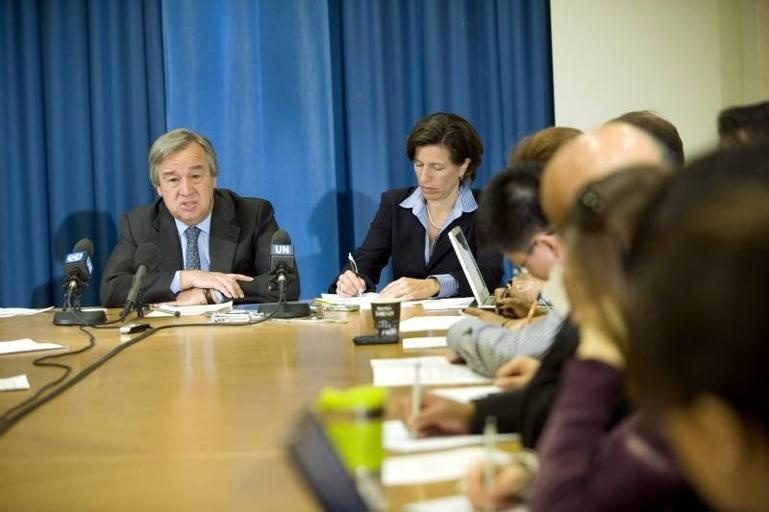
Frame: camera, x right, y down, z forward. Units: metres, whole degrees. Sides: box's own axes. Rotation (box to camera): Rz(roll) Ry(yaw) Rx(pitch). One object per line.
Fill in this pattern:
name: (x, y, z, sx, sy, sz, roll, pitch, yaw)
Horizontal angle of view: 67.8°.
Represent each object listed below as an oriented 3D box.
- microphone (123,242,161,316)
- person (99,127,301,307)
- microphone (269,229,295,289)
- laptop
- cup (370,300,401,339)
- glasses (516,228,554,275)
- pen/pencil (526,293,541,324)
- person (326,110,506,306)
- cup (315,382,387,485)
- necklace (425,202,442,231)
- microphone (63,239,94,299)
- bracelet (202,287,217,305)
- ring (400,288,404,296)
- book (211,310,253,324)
microphone: (-0.960, 0.099, 2.258, 0.080, 0.308, 0.083, 1, -34, 20)
person: (-0.858, -0.204, 2.605, 0.840, 0.805, 0.902, -5, 8, -27)
microphone: (-0.378, 0.005, 2.082, 0.083, 0.199, 0.169, -3, 7, -11)
laptop: (0.475, 0.029, 2.169, 0.365, 0.299, 0.420, -11, -2, 18)
cup: (-0.001, 0.193, 1.666, 0.103, 0.120, 0.107, -1, -7, 0)
glasses: (0.333, -0.002, 1.233, 0.065, 0.083, 0.077, 25, -18, 1)
pen/pencil: (0.414, 0.145, 1.602, 0.010, 0.072, 0.010, 27, 2, -11)
person: (0.170, -0.007, 3.053, 0.937, 1.342, 0.813, 3, 25, 12)
cup: (-0.056, 0.267, 0.912, 0.109, 0.085, 0.265, -2, 6, 1)
necklace: (0.267, -0.212, 3.100, 0.088, 0.147, 0.019, -5, -12, -20)
microphone: (-1.114, 0.042, 2.097, 0.075, 0.213, 0.053, 2, -21, -10)
bracelet: (-0.748, 0.166, 2.421, 0.053, 0.064, 0.029, -4, 8, -20)
ring: (0.071, 0.152, 2.396, 0.017, 0.017, 0.004, 9, 1, 39)
book: (-0.537, 0.208, 1.998, 0.139, 0.016, 0.186, -3, 7, -13)
